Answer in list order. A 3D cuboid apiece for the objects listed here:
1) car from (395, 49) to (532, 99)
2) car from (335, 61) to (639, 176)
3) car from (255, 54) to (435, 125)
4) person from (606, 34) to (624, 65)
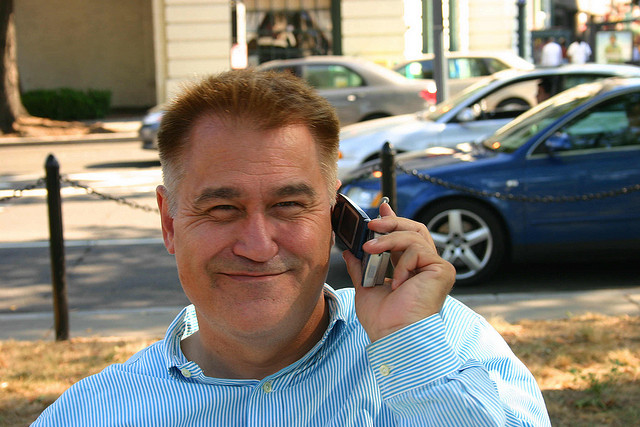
[{"bbox_3d":[3.089,-3.158,19.159,3.273,1.037,1.428,-6,8,-8],"label":"car"},{"bbox_3d":[2.099,-1.471,12.788,4.493,1.292,1.798,-3,4,-1],"label":"car"},{"bbox_3d":[0.907,-2.557,17.879,4.268,1.304,1.684,2,2,4],"label":"car"},{"bbox_3d":[8.230,-4.640,24.800,0.470,0.730,0.331,1,13,14],"label":"person"}]
